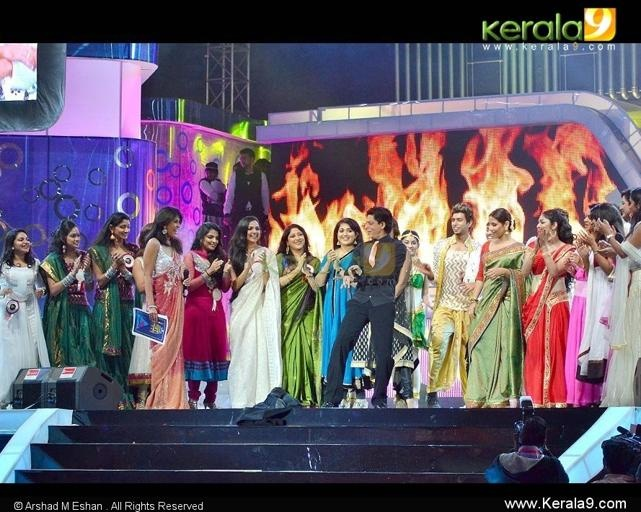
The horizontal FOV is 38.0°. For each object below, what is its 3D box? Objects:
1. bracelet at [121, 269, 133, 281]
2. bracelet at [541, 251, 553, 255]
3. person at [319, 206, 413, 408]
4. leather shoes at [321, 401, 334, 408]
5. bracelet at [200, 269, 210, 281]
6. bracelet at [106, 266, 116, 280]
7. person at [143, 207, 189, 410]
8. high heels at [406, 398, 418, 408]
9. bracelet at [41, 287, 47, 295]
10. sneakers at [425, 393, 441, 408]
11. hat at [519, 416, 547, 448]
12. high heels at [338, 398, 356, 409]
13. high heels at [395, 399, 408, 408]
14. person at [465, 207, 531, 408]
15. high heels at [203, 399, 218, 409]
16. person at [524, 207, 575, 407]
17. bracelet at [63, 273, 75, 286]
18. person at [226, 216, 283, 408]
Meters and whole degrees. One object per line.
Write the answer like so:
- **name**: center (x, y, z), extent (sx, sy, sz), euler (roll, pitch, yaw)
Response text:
- **bracelet**: center (-1.931, 0.192, 9.297), extent (0.052, 0.107, 0.083), euler (-38, -12, -8)
- **bracelet**: center (2.085, -0.027, 8.579), extent (0.109, 0.047, 0.070), euler (1, -5, 4)
- **person**: center (0.436, 0.459, 8.826), extent (0.711, 1.921, 0.581), euler (3, -18, -1)
- **leather shoes**: center (0.065, 1.374, 8.591), extent (0.128, 0.057, 0.045), euler (-3, -2, 8)
- **bracelet**: center (-1.112, 0.182, 8.964), extent (0.068, 0.079, 0.046), euler (3, -5, -14)
- **bracelet**: center (-2.068, 0.164, 9.201), extent (0.067, 0.116, 0.090), euler (-2, -6, 35)
- **person**: center (-1.488, 0.492, 9.006), extent (0.487, 1.944, 0.181), euler (2, -5, -11)
- **high heels**: center (0.850, 1.387, 8.747), extent (0.109, 0.089, 0.111), euler (8, -10, -38)
- **bracelet**: center (-2.743, 0.345, 9.215), extent (0.059, 0.061, 0.019), euler (0, -4, -36)
- **sneakers**: center (1.072, 1.396, 8.901), extent (0.156, 0.184, 0.104), euler (3, -22, -5)
- **hat**: center (1.622, 1.342, 7.119), extent (0.164, 0.249, 0.243), euler (4, -16, 14)
- **high heels**: center (0.249, 1.414, 8.782), extent (0.125, 0.088, 0.074), euler (-9, -38, 9)
- **high heels**: center (0.757, 1.381, 8.724), extent (0.090, 0.095, 0.065), euler (-3, -15, 18)
- **person**: center (1.621, 0.470, 8.627), extent (0.548, 1.836, 0.193), euler (1, -5, 11)
- **high heels**: center (-1.049, 1.415, 8.892), extent (0.148, 0.105, 0.067), euler (0, 3, -36)
- **person**: center (2.113, 0.463, 8.589), extent (0.495, 1.816, 0.222), euler (1, -5, 10)
- **bracelet**: center (-2.479, 0.228, 9.158), extent (0.070, 0.100, 0.071), euler (34, -3, 23)
- **person**: center (-0.632, 0.534, 9.004), extent (0.534, 1.835, 0.203), euler (2, -5, -5)
